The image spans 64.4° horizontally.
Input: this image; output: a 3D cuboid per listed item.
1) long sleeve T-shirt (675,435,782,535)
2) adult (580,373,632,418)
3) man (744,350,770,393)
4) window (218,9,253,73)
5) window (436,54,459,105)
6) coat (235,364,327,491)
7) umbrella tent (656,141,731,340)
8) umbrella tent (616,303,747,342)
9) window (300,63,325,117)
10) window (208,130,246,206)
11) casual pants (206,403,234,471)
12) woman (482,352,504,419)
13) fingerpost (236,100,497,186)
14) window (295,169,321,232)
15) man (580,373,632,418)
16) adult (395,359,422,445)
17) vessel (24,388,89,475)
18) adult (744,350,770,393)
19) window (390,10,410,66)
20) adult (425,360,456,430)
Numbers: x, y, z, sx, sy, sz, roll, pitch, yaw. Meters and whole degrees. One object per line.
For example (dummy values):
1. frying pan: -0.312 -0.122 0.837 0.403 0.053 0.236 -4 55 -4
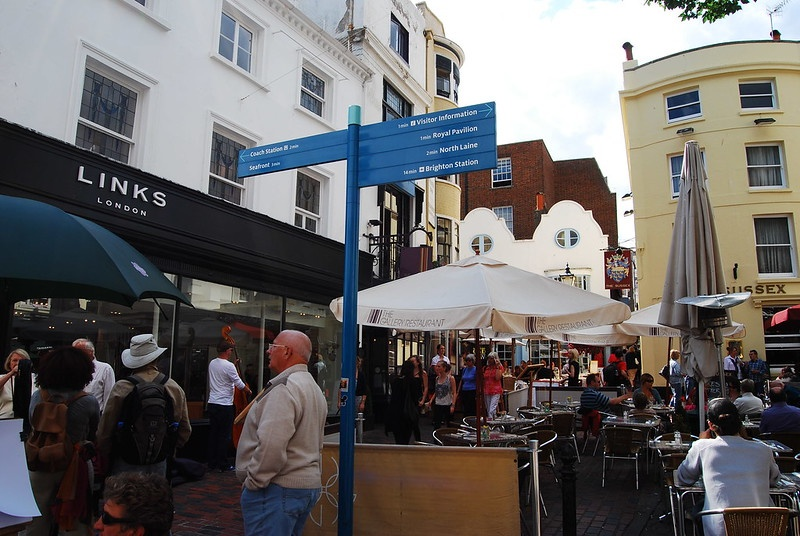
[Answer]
1. long sleeve T-shirt: 4.214 2.773 8.161 1.133 1.496 1.299 -3 4 16
2. adult: 4.920 3.092 15.464 1.245 0.928 0.917 -5 -5 -10
3. man: 11.635 3.638 20.809 0.558 1.775 0.735 7 -8 -31
4. window: -4.195 -5.768 16.126 0.099 1.310 1.534 -7 -23 25
5. window: 1.988 -8.203 27.873 0.726 1.886 2.010 -3 -2 24
6. coat: -1.459 1.993 7.939 0.936 1.553 1.572 -2 -15 10
7. umbrella tent: 5.271 -0.660 11.576 1.047 3.660 0.963 -4 -11 28
8. umbrella tent: 5.627 1.310 14.260 1.833 0.701 1.863 0 -9 -4
9. window: -2.541 -5.156 18.389 0.173 1.604 1.504 -4 -11 25
10. window: -4.124 -2.340 15.055 0.141 1.911 1.605 -8 -16 28
11. casual pants: -3.616 3.397 12.814 0.504 1.287 0.248 4 -10 -18
12. woman: 2.507 3.322 17.343 0.652 2.025 0.703 12 -17 -33
13. fingerpost: -0.312 -1.650 8.980 3.413 0.972 0.224 -3 -10 20
14. window: -2.614 -1.889 18.006 0.196 1.766 1.552 -6 -11 24
15. man: 4.921 3.112 15.463 1.245 0.928 0.917 -5 -5 -10
16. adult: 0.253 2.912 14.077 0.545 1.817 1.137 -3 -10 22
17. vessel: -4.261 2.003 7.867 0.589 0.911 0.500 1 -4 5
18. adult: 11.626 3.645 20.836 0.544 1.812 0.749 6 -7 -35
19. window: 0.005 -8.398 23.369 0.193 1.872 1.335 -14 -44 -18
20. adult: 1.079 3.517 16.594 0.731 2.180 0.609 -1 4 -3
